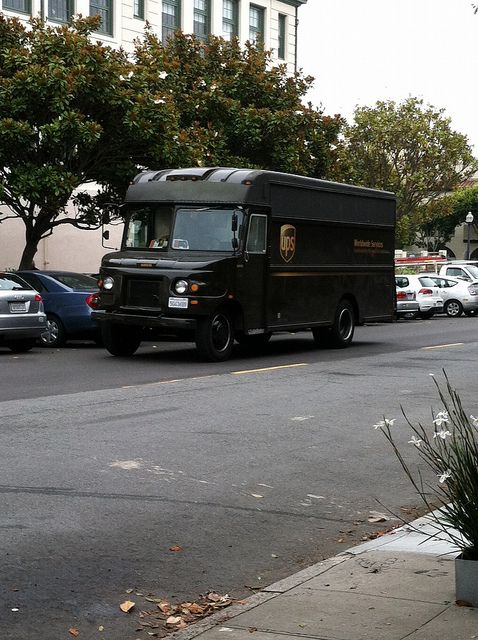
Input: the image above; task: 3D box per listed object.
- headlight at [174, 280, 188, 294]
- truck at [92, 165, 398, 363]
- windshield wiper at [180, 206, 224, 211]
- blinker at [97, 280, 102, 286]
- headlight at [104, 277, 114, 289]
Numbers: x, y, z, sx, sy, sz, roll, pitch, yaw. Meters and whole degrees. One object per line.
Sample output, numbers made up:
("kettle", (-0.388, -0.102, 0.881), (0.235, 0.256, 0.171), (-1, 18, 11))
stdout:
("headlight", (-1.109, -0.637, 13.029), (0.244, 0.250, 0.246), (1, 7, -3))
("truck", (0.580, -1.432, 16.666), (3.382, 3.805, 8.890), (6, 7, 36))
("windshield wiper", (-0.778, -2.326, 13.927), (0.882, 0.089, 0.072), (2, 3, 17))
("blinker", (-2.915, -0.778, 14.008), (0.094, 0.154, 0.120), (-1, 0, -19))
("headlight", (-2.679, -0.765, 13.778), (0.187, 0.234, 0.104), (2, -6, 21))
